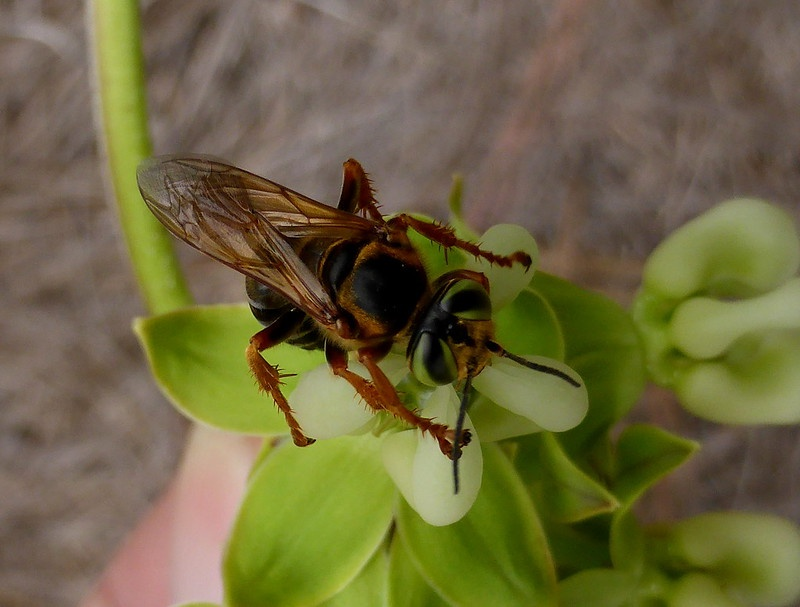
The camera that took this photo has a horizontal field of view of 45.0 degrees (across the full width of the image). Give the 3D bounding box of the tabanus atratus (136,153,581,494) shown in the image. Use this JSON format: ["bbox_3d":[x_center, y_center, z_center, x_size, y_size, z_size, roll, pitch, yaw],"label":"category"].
[{"bbox_3d":[-0.056,-0.016,0.877,0.423,0.122,0.250,35,44,19],"label":"tabanus atratus"}]
